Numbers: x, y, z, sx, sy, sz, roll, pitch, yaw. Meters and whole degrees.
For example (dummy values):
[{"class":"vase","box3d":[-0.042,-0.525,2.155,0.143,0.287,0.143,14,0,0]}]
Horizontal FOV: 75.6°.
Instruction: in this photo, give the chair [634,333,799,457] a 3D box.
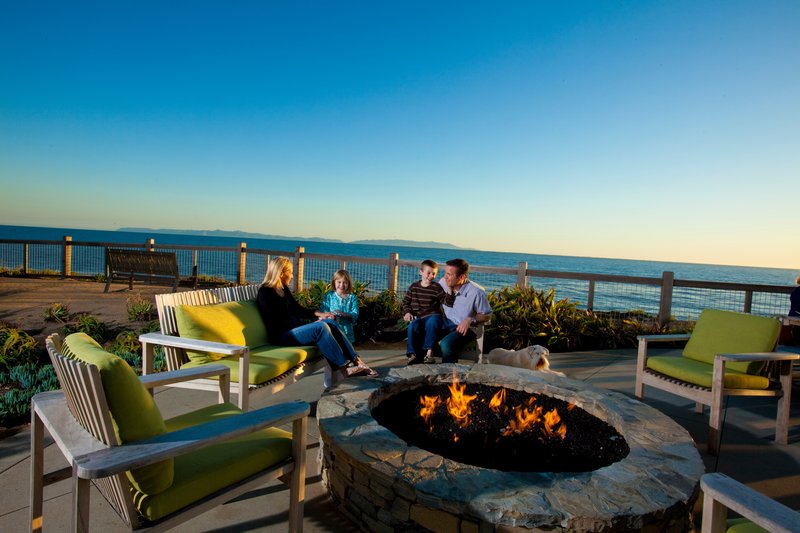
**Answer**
[{"class":"chair","box3d":[4.934,1.691,7.969,2.003,1.423,1.895,-2,5,-28]}]

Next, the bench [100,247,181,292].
[{"class":"bench","box3d":[-7.036,0.188,14.486,2.355,1.148,0.877,4,-3,22]}]

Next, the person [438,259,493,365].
[{"class":"person","box3d":[1.070,0.758,9.103,0.981,1.769,0.829,-1,4,-12]}]

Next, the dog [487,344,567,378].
[{"class":"dog","box3d":[2.034,1.546,8.998,0.522,0.608,1.446,-11,6,-40]}]

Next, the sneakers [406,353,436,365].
[{"class":"sneakers","box3d":[0.376,1.601,8.851,0.550,0.202,0.186,3,0,-5]}]
